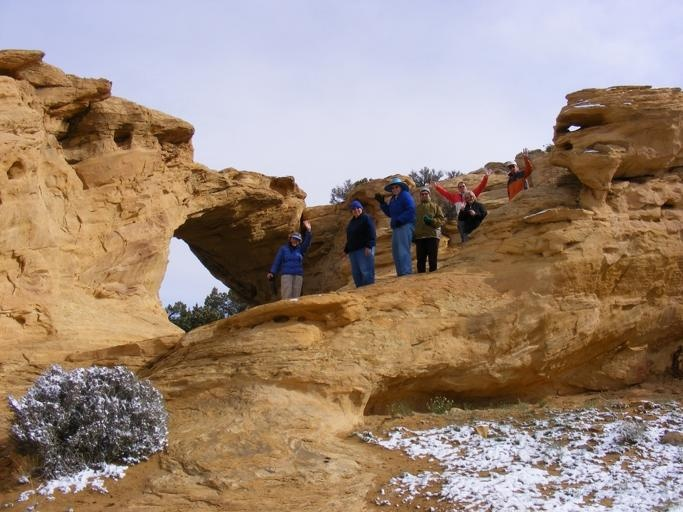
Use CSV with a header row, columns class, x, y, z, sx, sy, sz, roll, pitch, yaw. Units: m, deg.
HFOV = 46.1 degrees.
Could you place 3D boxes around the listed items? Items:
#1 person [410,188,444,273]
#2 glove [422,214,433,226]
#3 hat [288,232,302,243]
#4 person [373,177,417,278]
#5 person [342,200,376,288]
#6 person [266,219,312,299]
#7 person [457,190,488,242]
class,x,y,z,sx,sy,sz,roll,pitch,yaw
person,1.504,-0.336,14.136,0.524,1.270,0.426,-2,-8,18
glove,1.490,-0.602,13.999,0.136,0.156,0.078,-18,-48,-9
hat,-0.905,-0.344,15.440,0.211,0.163,0.232,12,15,-1
person,0.987,-0.512,14.374,0.656,1.854,0.937,1,-8,-6
person,0.317,-0.198,14.433,0.517,1.599,0.743,0,-8,-1
person,-1.021,0.071,15.540,0.774,1.570,0.955,0,-7,-4
person,2.385,-0.691,14.691,0.510,0.895,0.953,-1,-7,5
